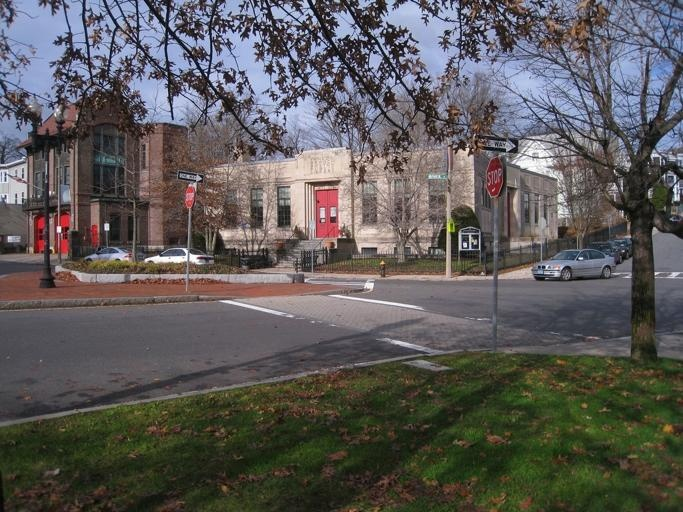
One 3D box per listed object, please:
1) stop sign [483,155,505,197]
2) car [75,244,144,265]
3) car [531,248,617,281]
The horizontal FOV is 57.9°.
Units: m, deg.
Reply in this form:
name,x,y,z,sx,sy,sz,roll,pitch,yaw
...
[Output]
name,x,y,z,sx,sy,sz,roll,pitch,yaw
stop sign,2.838,-1.478,11.384,0.320,0.810,1.061,-3,4,14
car,-13.871,-0.129,36.788,2.457,1.027,1.241,3,-2,11
car,10.781,0.465,28.631,4.088,1.510,1.156,-8,5,-26
